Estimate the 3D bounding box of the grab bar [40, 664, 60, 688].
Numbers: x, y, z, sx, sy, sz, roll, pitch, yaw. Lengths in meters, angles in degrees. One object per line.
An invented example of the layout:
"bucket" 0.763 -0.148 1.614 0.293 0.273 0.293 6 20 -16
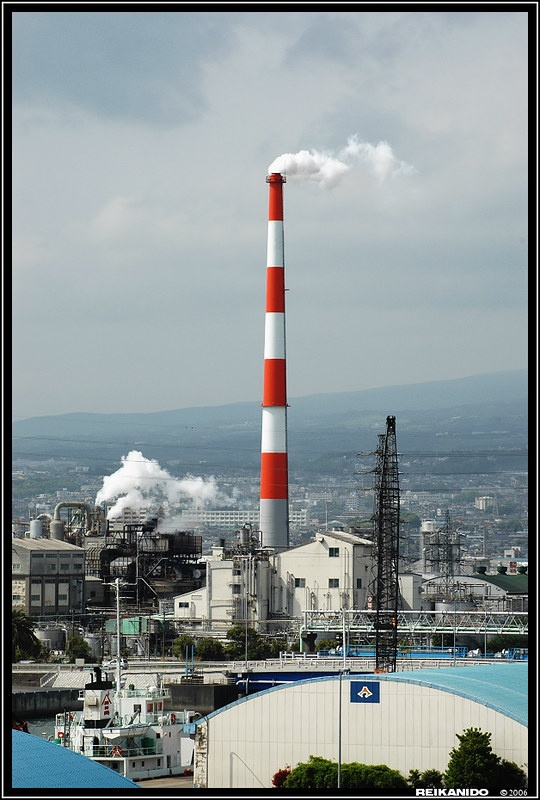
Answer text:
"grab bar" -6.370 8.069 48.645 0.397 0.502 0.056 -12 -42 14
